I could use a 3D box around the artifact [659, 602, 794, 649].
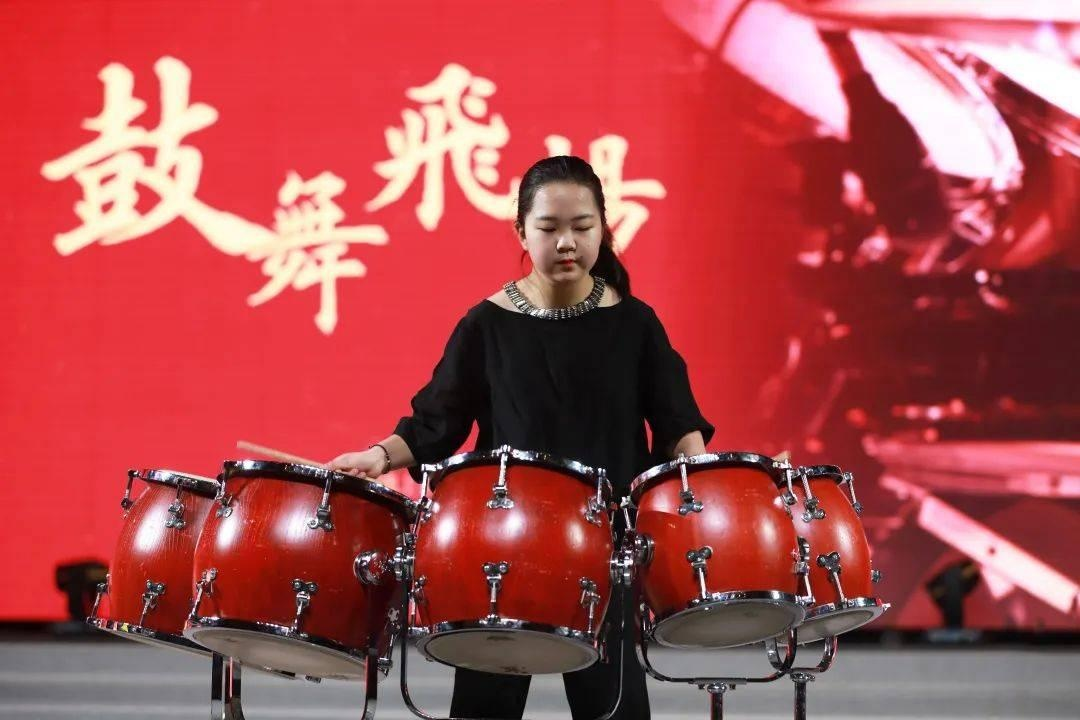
[{"bbox_3d":[0.546,0.778,3.449,0.237,0.055,0.238,-9,-16,-9],"label":"artifact"}]
